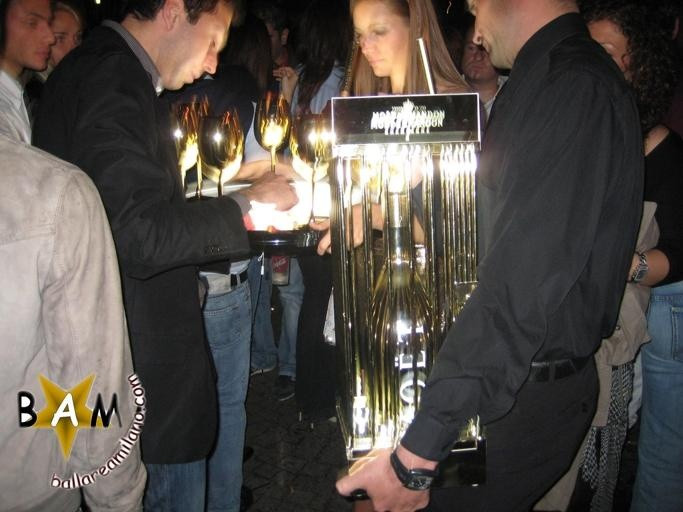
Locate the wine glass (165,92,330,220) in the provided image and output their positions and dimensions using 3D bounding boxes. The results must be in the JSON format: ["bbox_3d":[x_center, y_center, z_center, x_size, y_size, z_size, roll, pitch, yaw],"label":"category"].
[{"bbox_3d":[-0.326,-0.329,2.118,0.222,0.250,0.589,-20,25,3],"label":"wine glass"}]

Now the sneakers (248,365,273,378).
[{"bbox_3d":[-0.527,0.755,4.102,0.124,0.051,0.095,-3,5,-12],"label":"sneakers"}]

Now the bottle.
[{"bbox_3d":[0.117,0.143,1.389,0.103,0.599,0.082,-1,3,8],"label":"bottle"}]

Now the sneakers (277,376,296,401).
[{"bbox_3d":[-0.337,0.826,3.799,0.098,0.131,0.301,0,-7,-4],"label":"sneakers"}]
